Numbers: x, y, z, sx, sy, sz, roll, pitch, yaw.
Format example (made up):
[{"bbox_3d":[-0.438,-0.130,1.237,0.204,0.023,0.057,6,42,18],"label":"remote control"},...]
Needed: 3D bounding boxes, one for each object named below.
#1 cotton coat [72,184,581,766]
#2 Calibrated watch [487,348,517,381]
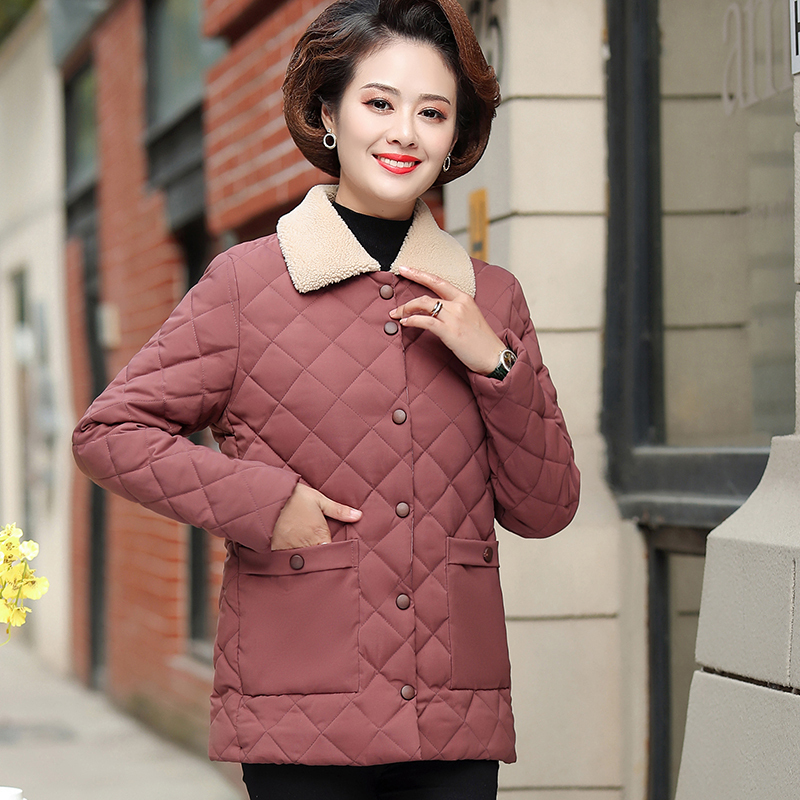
[{"bbox_3d":[-0.123,0.133,2.951,1.000,1.180,0.403,1,-1,4],"label":"cotton coat"},{"bbox_3d":[0.206,-0.067,2.896,0.019,0.057,0.055,30,-29,5],"label":"Calibrated watch"}]
